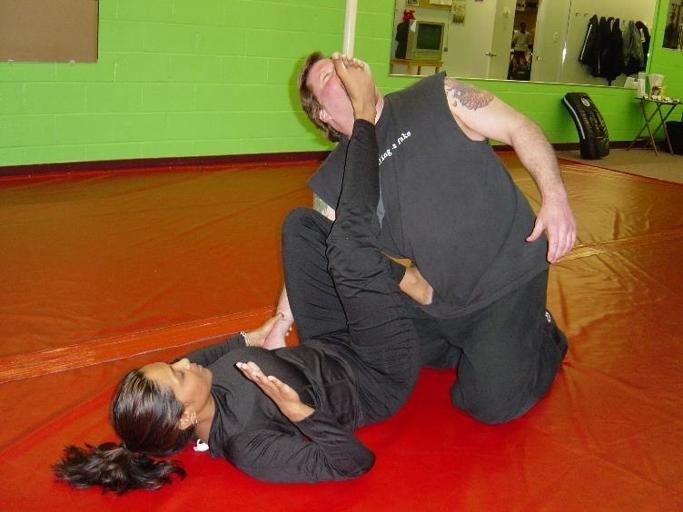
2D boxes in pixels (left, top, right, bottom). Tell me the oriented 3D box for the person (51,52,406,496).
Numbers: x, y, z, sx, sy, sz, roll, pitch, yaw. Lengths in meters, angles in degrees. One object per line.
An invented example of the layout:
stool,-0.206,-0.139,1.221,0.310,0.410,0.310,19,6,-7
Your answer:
person,-0.472,0.017,2.163,1.384,1.602,1.118,-13,15,-33

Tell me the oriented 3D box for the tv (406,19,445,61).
tv,0.965,-2.584,6.303,0.535,0.464,0.294,-10,28,-30

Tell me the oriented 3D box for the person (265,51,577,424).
person,0.286,-0.077,2.030,1.129,1.396,0.764,-6,7,14
